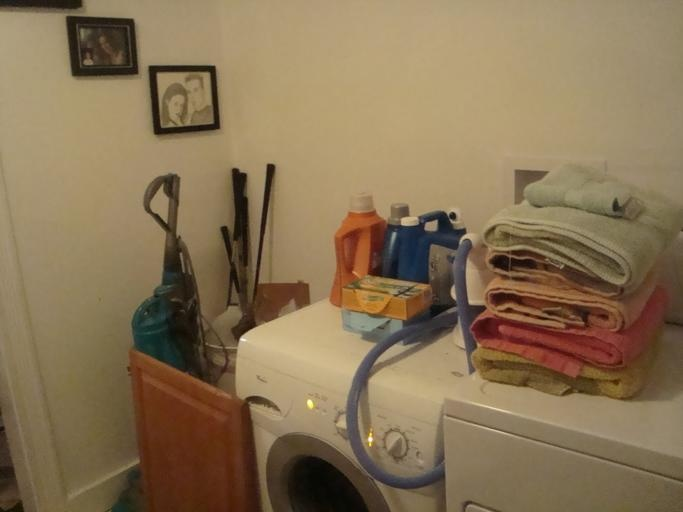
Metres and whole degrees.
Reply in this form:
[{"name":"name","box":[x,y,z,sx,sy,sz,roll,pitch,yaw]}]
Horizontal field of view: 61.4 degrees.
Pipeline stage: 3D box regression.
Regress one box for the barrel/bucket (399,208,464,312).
[{"name":"barrel/bucket","box":[0.255,0.022,1.653,0.236,0.356,0.143,-4,20,-4]}]

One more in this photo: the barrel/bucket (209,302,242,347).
[{"name":"barrel/bucket","box":[-0.475,0.292,2.429,0.097,0.169,0.163,-2,18,32]}]

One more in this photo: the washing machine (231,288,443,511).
[{"name":"washing machine","box":[-0.050,0.394,1.986,0.500,0.726,0.491,19,29,40]}]

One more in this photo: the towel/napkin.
[{"name":"towel/napkin","box":[0.583,0.002,1.424,0.371,0.379,0.527,11,27,31]}]
